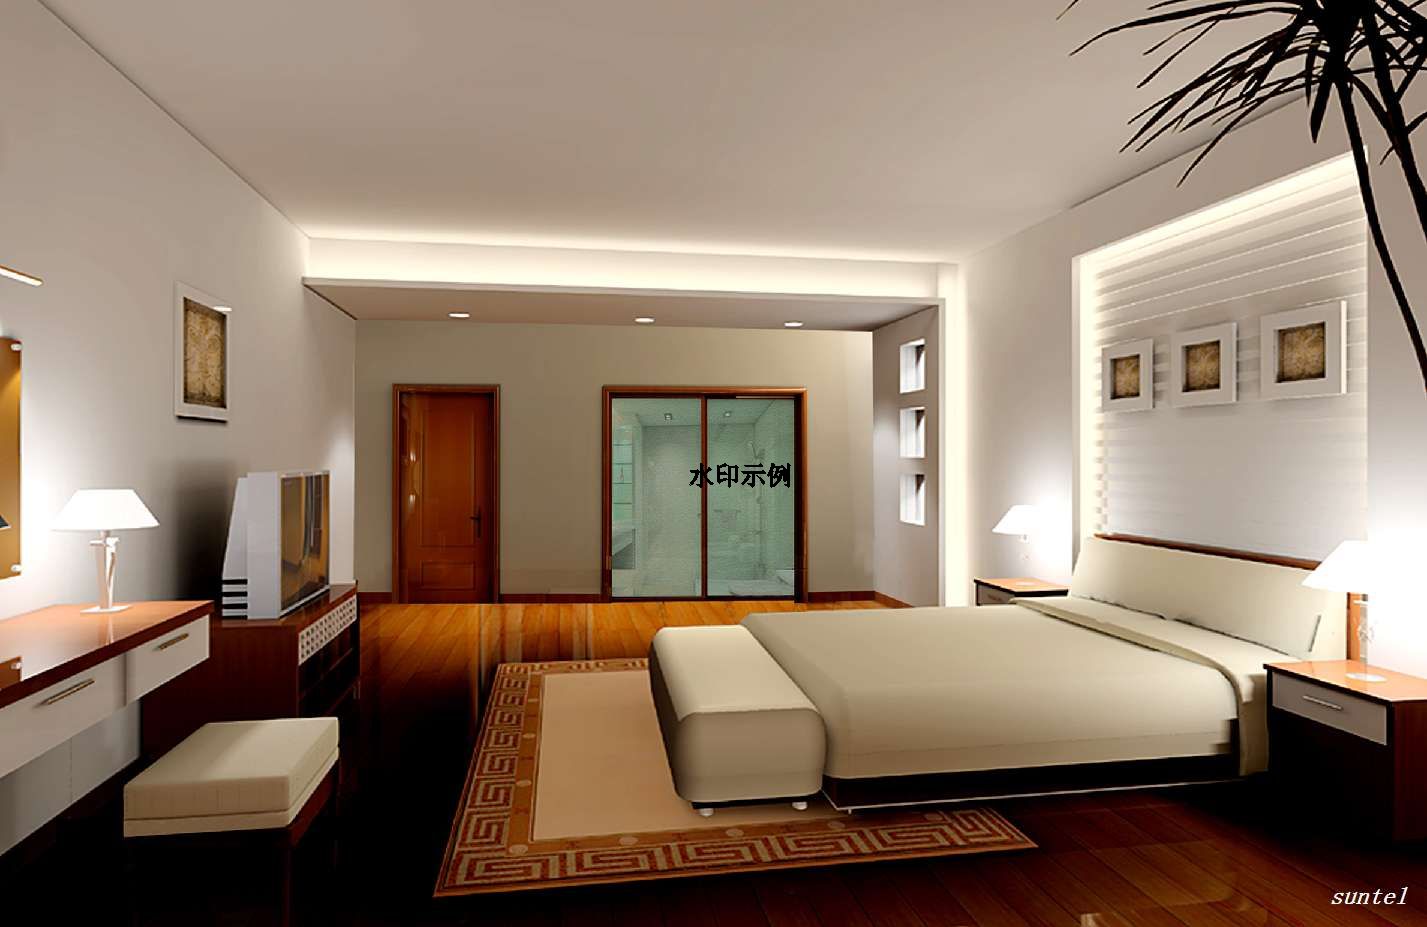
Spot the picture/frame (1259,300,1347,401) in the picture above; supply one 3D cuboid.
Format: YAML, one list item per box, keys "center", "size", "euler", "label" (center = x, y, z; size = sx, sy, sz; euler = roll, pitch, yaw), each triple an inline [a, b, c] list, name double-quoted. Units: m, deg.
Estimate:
- center: [3.115, -0.592, 4.750]
  size: [0.075, 0.665, 0.537]
  euler: [5, -6, -27]
  label: "picture/frame"

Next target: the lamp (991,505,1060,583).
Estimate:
- center: [2.232, 0.554, 6.416]
  size: [0.488, 0.642, 0.512]
  euler: [-1, -2, 11]
  label: "lamp"

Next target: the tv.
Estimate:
- center: [-2.649, 0.458, 5.519]
  size: [0.358, 0.779, 0.975]
  euler: [-2, 0, -10]
  label: "tv"

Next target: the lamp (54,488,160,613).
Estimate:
- center: [-2.904, 0.396, 4.433]
  size: [0.549, 0.621, 0.511]
  euler: [0, -3, -8]
  label: "lamp"

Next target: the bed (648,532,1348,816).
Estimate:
- center: [1.420, 1.128, 4.684]
  size: [2.306, 0.788, 1.659]
  euler: [0, -1, -11]
  label: "bed"

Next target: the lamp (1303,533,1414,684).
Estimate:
- center: [3.113, 0.678, 4.337]
  size: [0.569, 0.600, 0.584]
  euler: [-3, -4, 34]
  label: "lamp"

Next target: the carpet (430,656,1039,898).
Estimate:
- center: [-0.068, 1.584, 4.935]
  size: [2.503, 0.077, 2.021]
  euler: [-1, 10, -7]
  label: "carpet"

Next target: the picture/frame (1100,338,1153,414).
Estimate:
- center: [2.648, -0.560, 5.808]
  size: [0.362, 0.400, 0.039]
  euler: [-6, 9, -15]
  label: "picture/frame"
